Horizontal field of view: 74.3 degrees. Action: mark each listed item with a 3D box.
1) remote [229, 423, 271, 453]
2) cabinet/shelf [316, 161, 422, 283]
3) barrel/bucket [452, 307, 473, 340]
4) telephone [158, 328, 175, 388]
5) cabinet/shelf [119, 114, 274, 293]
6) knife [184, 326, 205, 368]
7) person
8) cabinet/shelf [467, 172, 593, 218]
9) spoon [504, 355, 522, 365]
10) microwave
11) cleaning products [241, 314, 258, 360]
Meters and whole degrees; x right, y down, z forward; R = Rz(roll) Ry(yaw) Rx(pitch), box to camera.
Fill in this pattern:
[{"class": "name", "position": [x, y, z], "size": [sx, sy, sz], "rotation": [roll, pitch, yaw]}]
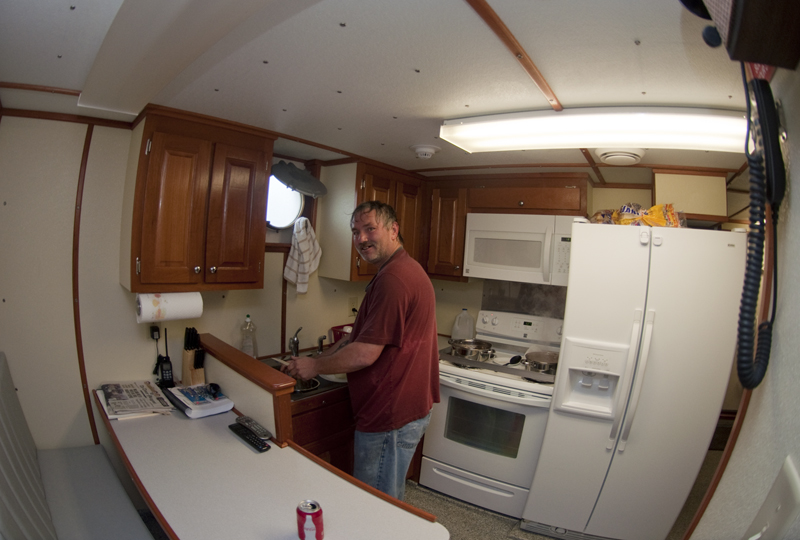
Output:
[{"class": "remote", "position": [-0.783, 0.849, 2.713], "size": [0.094, 0.062, 0.263], "rotation": [-19, 32, -41]}, {"class": "cabinet/shelf", "position": [-0.214, -0.366, 4.325], "size": [0.373, 0.910, 1.030], "rotation": [7, 5, 29]}, {"class": "barrel/bucket", "position": [0.521, 0.448, 4.382], "size": [0.195, 0.243, 0.270], "rotation": [0, 6, 5]}, {"class": "telephone", "position": [-1.439, 0.528, 3.224], "size": [0.086, 0.334, 0.154], "rotation": [-2, 6, -25]}, {"class": "cabinet/shelf", "position": [-1.210, -0.405, 3.023], "size": [0.850, 1.142, 0.567], "rotation": [9, -6, -43]}, {"class": "knife", "position": [-1.278, 0.472, 3.260], "size": [0.122, 0.243, 0.137], "rotation": [-3, 6, -25]}, {"class": "person", "position": [-0.202, 0.700, 3.128], "size": [0.821, 2.074, 0.837], "rotation": [3, 3, 19]}, {"class": "cabinet/shelf", "position": [0.956, -0.615, 4.071], "size": [0.844, 0.299, 0.297], "rotation": [6, 31, 21]}, {"class": "spoon", "position": [0.804, 0.634, 3.741], "size": [0.089, 0.018, 0.055], "rotation": [-13, 1, 6]}, {"class": "microwave", "position": [0.948, -0.246, 4.142], "size": [0.871, 0.548, 0.549], "rotation": [6, 29, 16]}, {"class": "cleaning products", "position": [-1.049, 0.455, 3.669], "size": [0.050, 0.311, 0.137], "rotation": [3, 6, 34]}]
